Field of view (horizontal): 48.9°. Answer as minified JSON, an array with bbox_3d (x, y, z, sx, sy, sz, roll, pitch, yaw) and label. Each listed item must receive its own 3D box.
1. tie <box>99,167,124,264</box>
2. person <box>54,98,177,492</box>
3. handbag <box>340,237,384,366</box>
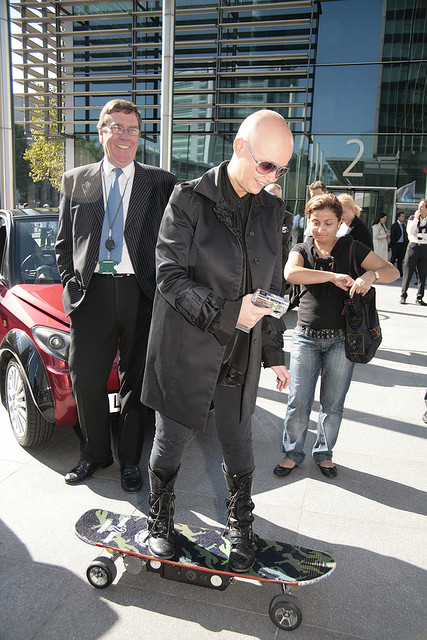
[{"bbox_3d":[-0.563,-0.593,2.603,0.122,0.520,0.132,1,7,-11],"label":"tie"},{"bbox_3d":[-0.538,-0.123,2.752,0.789,2.251,0.551,1,5,-3],"label":"person"},{"bbox_3d":[0.874,-0.124,2.822,0.277,0.693,0.284,14,17,33],"label":"handbag"}]
